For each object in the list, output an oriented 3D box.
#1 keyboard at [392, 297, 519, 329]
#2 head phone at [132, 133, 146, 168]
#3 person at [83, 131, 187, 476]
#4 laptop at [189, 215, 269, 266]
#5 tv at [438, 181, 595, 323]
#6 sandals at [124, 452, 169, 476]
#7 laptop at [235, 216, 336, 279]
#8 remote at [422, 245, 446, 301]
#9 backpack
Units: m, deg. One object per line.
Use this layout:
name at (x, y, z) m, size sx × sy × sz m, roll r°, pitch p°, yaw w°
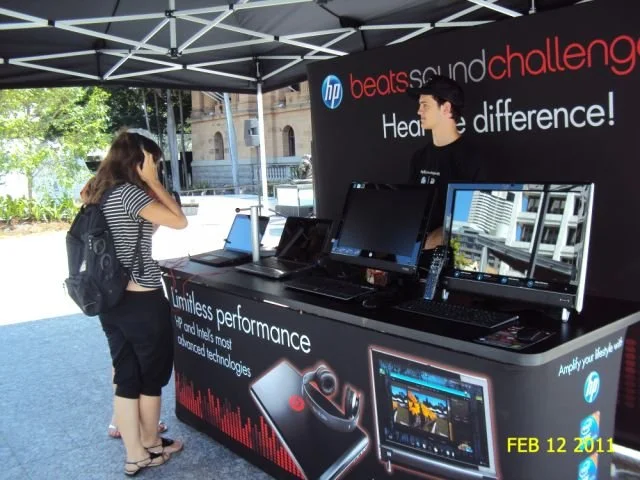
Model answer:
keyboard at (0.662, 0.361, 2.294) m, size 0.569 × 0.034 × 0.217 m, roll 7°, pitch 13°, yaw 35°
head phone at (-1.159, -0.586, 2.955) m, size 0.057 × 0.165 × 0.112 m, roll -10°, pitch 9°, yaw -27°
person at (-1.227, 0.356, 3.276) m, size 0.853 × 2.149 × 0.725 m, roll -1°, pitch 2°, yaw -34°
laptop at (-0.707, -0.033, 3.541) m, size 0.462 × 0.357 × 0.511 m, roll 5°, pitch 8°, yaw 37°
tv at (0.955, -0.001, 2.325) m, size 0.687 × 0.574 × 0.179 m, roll 8°, pitch 13°, yaw 38°
sandals at (-1.166, 1.483, 3.088) m, size 0.255 × 0.088 × 0.108 m, roll -11°, pitch 12°, yaw -40°
laptop at (-0.197, 0.057, 3.225) m, size 0.491 × 0.312 × 0.484 m, roll -10°, pitch 11°, yaw -44°
remote at (0.628, 0.174, 2.550) m, size 0.081 × 0.376 × 0.096 m, roll 12°, pitch -4°, yaw 20°
backpack at (-1.414, 0.125, 2.850) m, size 0.356 × 0.686 × 0.250 m, roll 5°, pitch 12°, yaw 29°
